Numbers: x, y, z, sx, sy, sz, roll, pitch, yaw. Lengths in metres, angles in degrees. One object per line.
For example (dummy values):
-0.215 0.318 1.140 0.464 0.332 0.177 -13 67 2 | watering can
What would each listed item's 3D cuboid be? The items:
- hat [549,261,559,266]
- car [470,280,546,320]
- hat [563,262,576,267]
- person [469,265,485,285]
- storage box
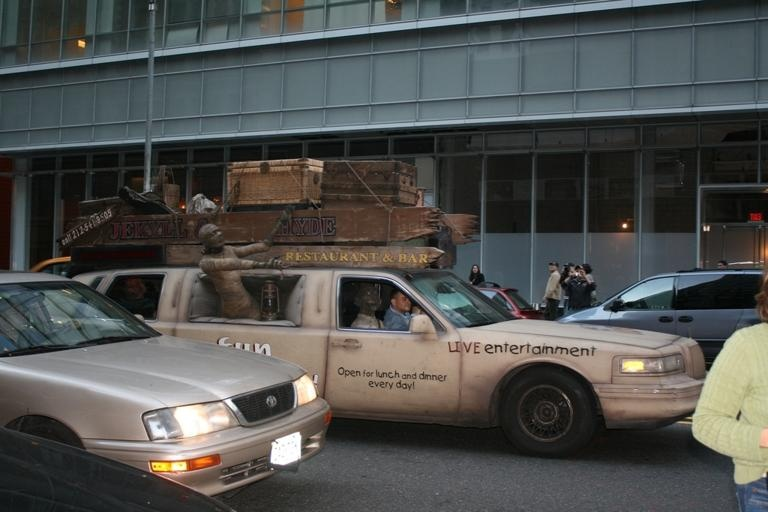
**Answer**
4.727 0.211 20.307 0.305 0.131 0.224 -2 -2 2 | hat
2.412 1.019 15.174 1.834 0.721 0.878 9 4 28 | car
5.276 0.235 20.802 0.290 0.121 0.360 1 0 6 | hat
2.741 0.565 21.751 0.608 0.662 0.411 -4 -7 29 | person
-0.952 -0.987 10.000 2.509 0.659 0.442 2 6 21 | storage box
